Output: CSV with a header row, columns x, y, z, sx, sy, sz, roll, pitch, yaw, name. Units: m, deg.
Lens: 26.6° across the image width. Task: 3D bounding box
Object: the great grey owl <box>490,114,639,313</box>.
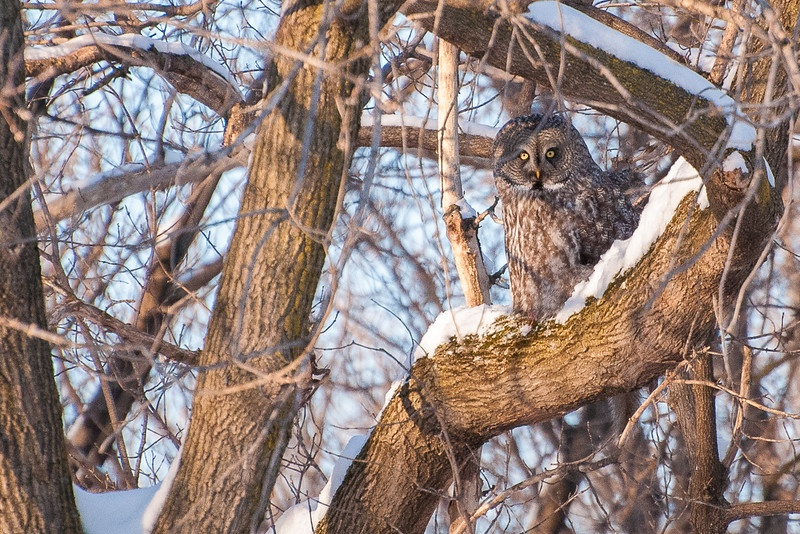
x,y,z,sx,sy,sz,roll,pitch,yaw,name
1.403,-0.373,14.848,1.253,2.081,0.759,-1,-40,13,great grey owl
